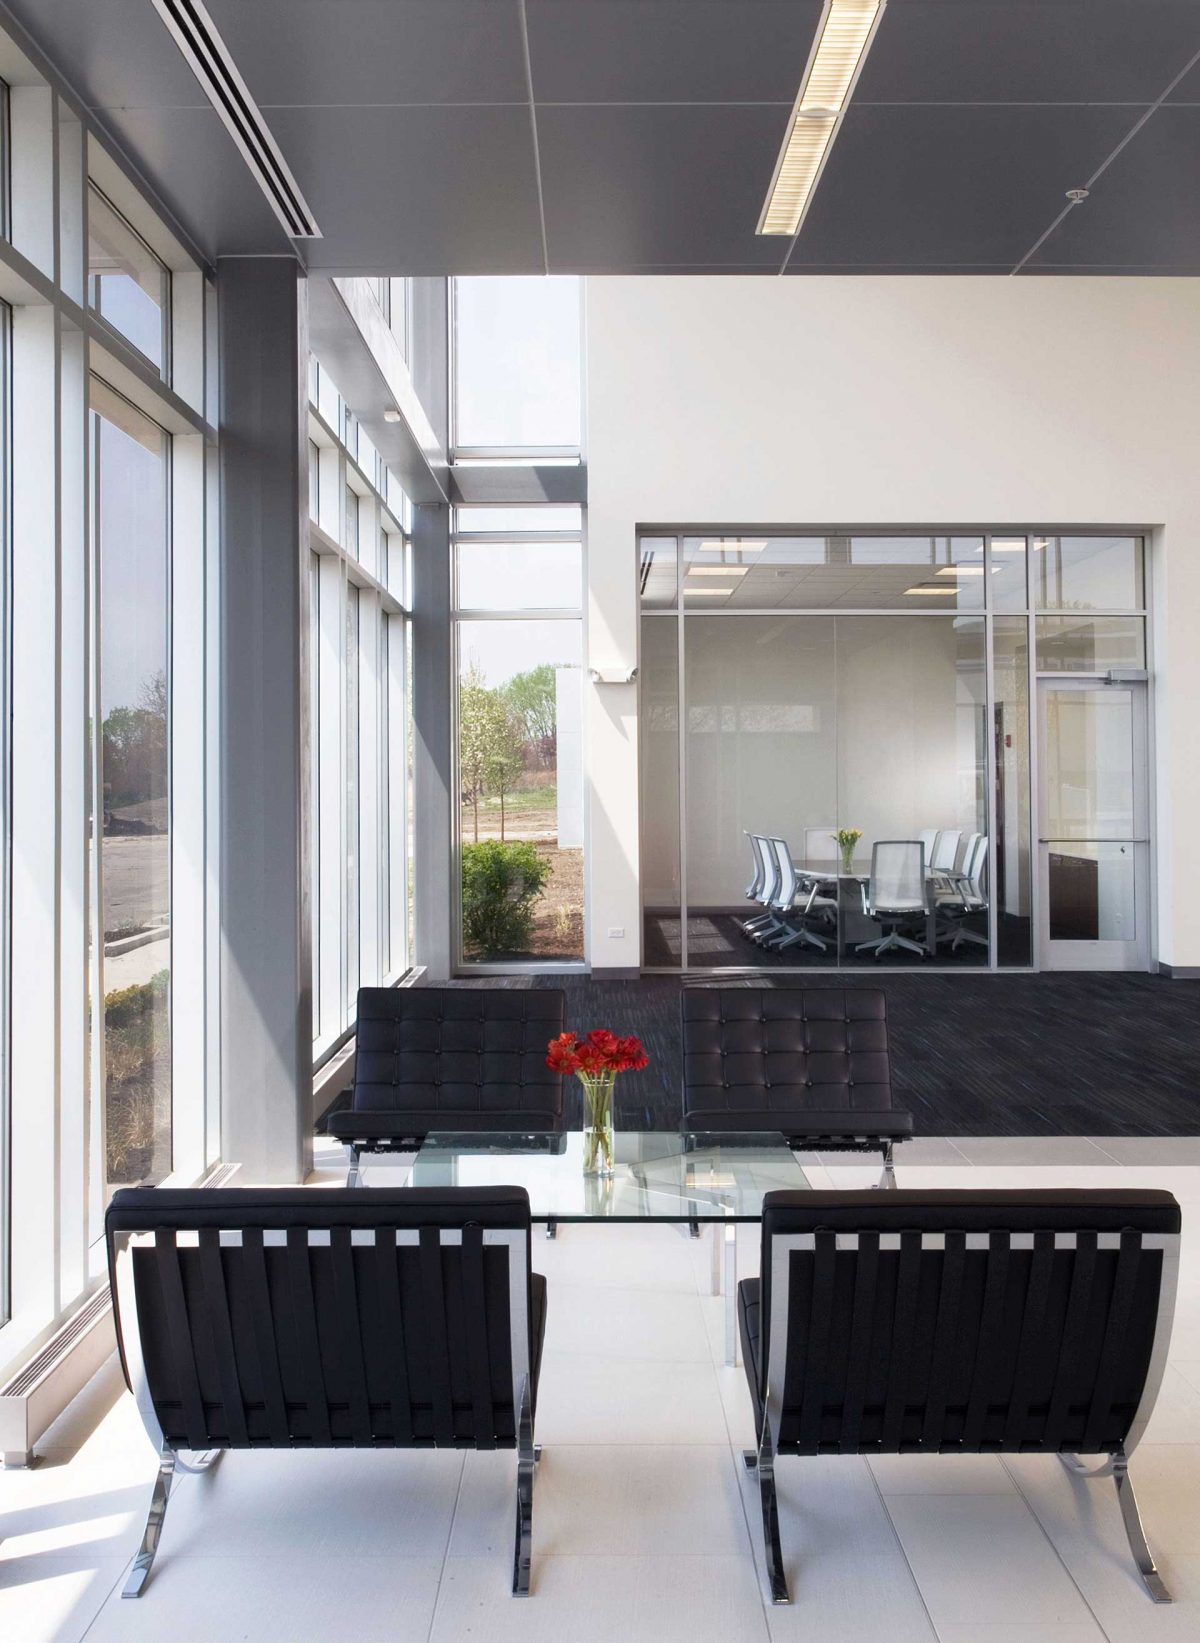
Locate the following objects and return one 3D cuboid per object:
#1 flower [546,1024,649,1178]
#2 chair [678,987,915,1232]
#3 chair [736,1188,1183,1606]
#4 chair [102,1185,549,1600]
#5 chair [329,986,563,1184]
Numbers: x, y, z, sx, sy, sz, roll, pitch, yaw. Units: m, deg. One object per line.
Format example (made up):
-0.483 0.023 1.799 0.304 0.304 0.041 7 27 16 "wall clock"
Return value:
-0.005 0.794 3.524 0.247 0.394 0.269 2 -12 -14 "flower"
0.652 0.926 4.244 0.600 0.754 0.654 0 -7 3 "chair"
0.700 0.872 2.465 0.635 0.775 0.771 0 1 3 "chair"
-0.503 1.066 2.643 0.812 0.893 0.793 1 4 3 "chair"
-0.504 0.890 4.290 0.670 0.764 0.590 0 -11 -6 "chair"
